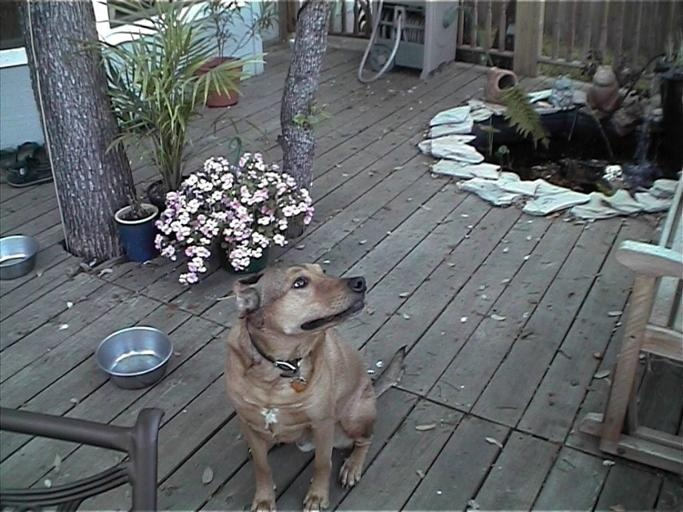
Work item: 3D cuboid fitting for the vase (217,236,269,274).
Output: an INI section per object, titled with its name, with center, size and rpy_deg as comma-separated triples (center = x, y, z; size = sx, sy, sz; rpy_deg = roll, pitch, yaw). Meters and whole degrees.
[vase]
center = -0.667, 0.002, 3.264
size = 0.264, 0.198, 0.278
rpy_deg = 18, 37, 22

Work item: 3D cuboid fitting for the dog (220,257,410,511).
[dog]
center = -0.105, 0.614, 2.057
size = 0.546, 0.960, 0.666
rpy_deg = 27, 46, 30

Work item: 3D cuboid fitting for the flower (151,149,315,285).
[flower]
center = -0.704, -0.256, 3.225
size = 0.940, 0.767, 0.598
rpy_deg = -18, 31, -33

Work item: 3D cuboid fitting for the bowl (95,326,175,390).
[bowl]
center = -1.129, 0.572, 2.636
size = 0.392, 0.135, 0.383
rpy_deg = 4, 29, -2
